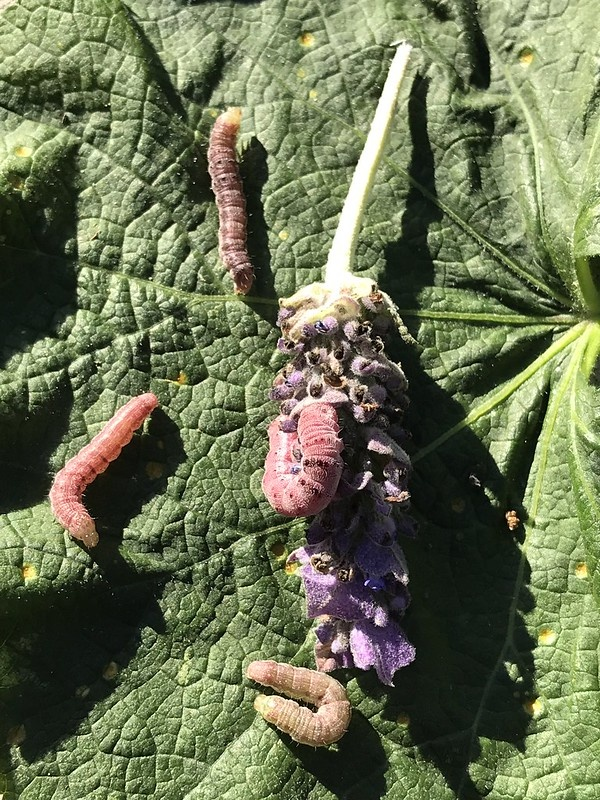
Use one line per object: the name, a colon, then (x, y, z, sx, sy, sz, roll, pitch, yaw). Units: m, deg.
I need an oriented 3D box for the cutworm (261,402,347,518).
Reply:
cutworm: (0.013, 0.225, 2.962, 0.173, 0.383, 0.333, 8, 13, -28)
